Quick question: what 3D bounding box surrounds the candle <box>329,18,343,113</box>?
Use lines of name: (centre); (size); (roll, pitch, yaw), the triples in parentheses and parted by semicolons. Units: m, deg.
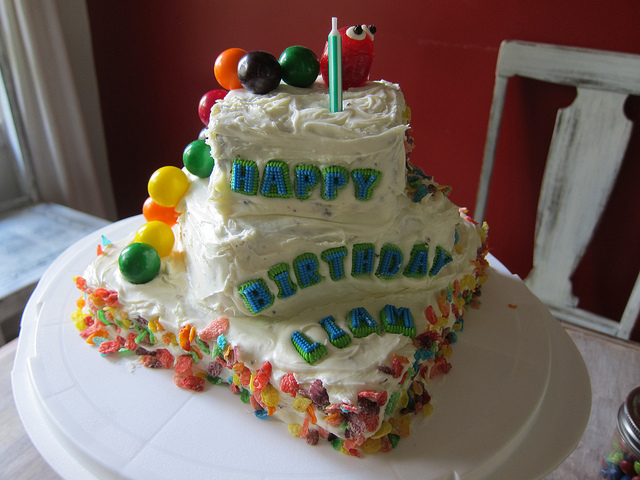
candle: (0.072, -0.755, 2.388); (0.077, 0.367, 0.189); (4, 31, 0)
